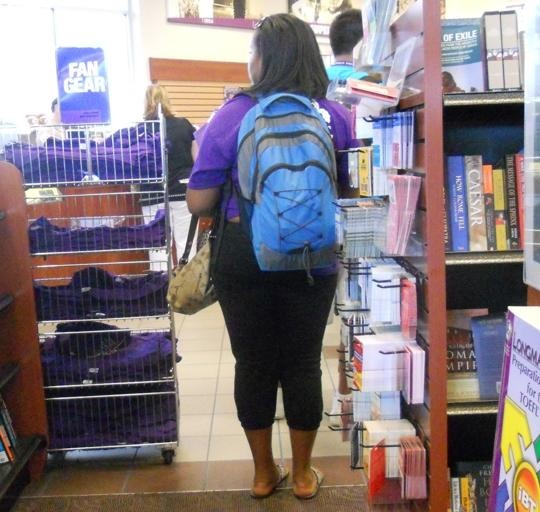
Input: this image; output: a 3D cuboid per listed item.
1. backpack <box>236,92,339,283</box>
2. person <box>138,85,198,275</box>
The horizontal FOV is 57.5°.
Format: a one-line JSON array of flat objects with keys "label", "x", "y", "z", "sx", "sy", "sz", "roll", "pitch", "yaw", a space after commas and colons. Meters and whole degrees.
[{"label": "backpack", "x": 0.064, "y": -0.213, "z": 1.543, "sx": 0.322, "sy": 0.603, "sz": 0.199, "roll": -1, "pitch": 9, "yaw": 5}, {"label": "person", "x": -1.016, "y": -0.835, "z": 4.978, "sx": 0.545, "sy": 1.873, "sz": 0.524, "roll": -3, "pitch": 41, "yaw": -8}]
